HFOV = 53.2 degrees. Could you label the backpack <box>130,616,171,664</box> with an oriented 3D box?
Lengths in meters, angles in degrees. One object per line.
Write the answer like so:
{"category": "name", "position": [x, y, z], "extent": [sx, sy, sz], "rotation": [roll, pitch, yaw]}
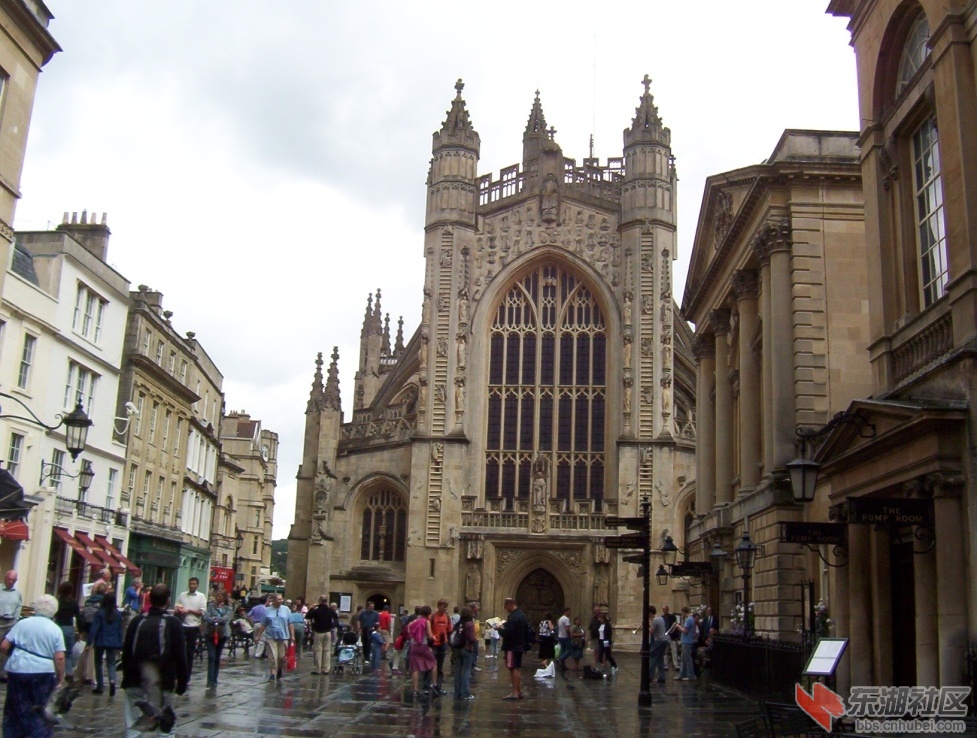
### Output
{"category": "backpack", "position": [-4.337, 3.439, 12.505], "extent": [0.473, 0.600, 0.192], "rotation": [7, -22, -12]}

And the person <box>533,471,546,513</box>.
{"category": "person", "position": [2.326, 5.620, 44.493], "extent": [0.705, 1.696, 0.381], "rotation": [2, -21, -1]}

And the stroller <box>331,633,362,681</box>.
{"category": "stroller", "position": [-3.575, 7.308, 25.118], "extent": [0.797, 1.132, 1.130], "rotation": [-1, -27, 3]}
